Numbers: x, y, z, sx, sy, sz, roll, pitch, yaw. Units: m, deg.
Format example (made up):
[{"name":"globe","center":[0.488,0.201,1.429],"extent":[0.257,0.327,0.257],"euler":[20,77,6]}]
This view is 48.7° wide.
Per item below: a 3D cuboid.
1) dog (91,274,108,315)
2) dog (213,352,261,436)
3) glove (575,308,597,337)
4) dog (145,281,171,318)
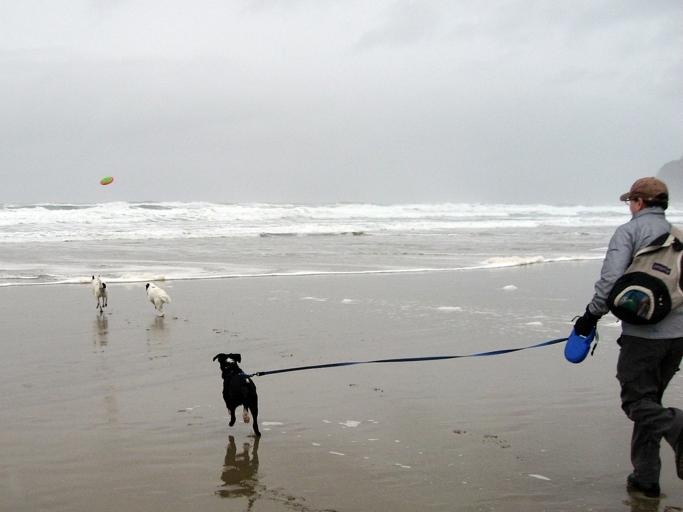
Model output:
[{"name":"dog","center":[-4.924,0.815,15.376],"extent":[0.239,0.552,0.955],"euler":[0,-4,-20]},{"name":"dog","center":[-1.220,1.626,8.831],"extent":[0.465,0.872,0.756],"euler":[-2,12,-11]},{"name":"glove","center":[2.437,0.649,7.515],"extent":[0.138,0.277,0.394],"euler":[21,14,17]},{"name":"dog","center":[-3.777,0.918,15.377],"extent":[0.726,0.713,0.340],"euler":[17,21,40]}]
